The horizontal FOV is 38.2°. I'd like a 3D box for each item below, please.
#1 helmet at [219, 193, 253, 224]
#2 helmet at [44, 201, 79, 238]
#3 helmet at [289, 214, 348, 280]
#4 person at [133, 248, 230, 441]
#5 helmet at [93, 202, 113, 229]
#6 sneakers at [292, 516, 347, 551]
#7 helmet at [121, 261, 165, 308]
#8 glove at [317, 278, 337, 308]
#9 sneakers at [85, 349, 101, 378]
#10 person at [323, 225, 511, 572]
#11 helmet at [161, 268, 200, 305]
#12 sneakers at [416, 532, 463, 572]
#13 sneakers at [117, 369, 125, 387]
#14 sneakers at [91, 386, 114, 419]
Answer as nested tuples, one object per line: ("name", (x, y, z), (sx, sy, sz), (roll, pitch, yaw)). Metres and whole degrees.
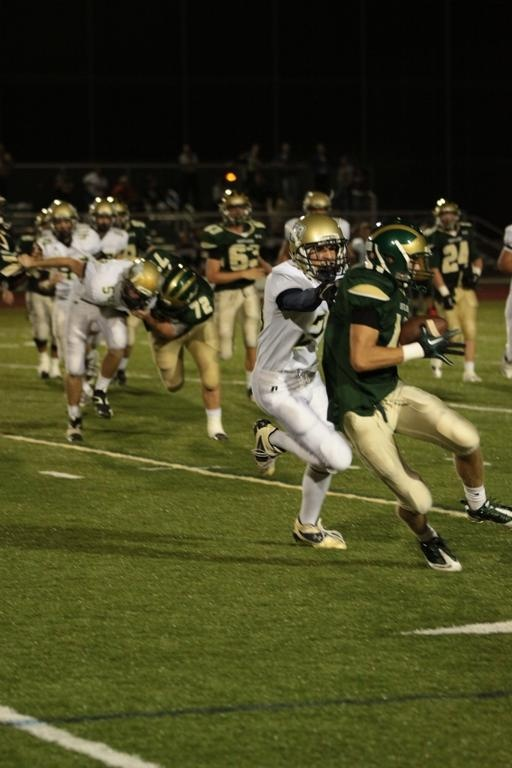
("helmet", (-0.193, -1.665, 7.016), (0.297, 0.346, 0.260), (2, 7, -4))
("helmet", (-1.775, -1.513, 6.906), (0.322, 0.298, 0.392), (-4, -6, -11))
("helmet", (0.261, -0.623, 3.215), (0.233, 0.217, 0.285), (-20, 34, -30))
("person", (-0.510, -0.225, 5.085), (0.473, 1.349, 0.841), (5, 8, 12))
("helmet", (-1.531, -1.672, 7.401), (0.222, 0.231, 0.258), (1, 15, -12))
("sneakers", (0.279, 0.658, 3.271), (0.224, 0.086, 0.107), (10, 0, 7))
("helmet", (-0.749, -0.627, 4.698), (0.282, 0.326, 0.262), (4, 7, 7))
("glove", (0.280, -0.344, 2.871), (0.069, 0.046, 0.106), (18, 15, -10))
("sneakers", (-1.542, -0.188, 6.943), (0.116, 0.088, 0.338), (33, -14, -13))
("person", (0.619, 0.055, 2.905), (0.710, 1.342, 0.478), (2, 8, -8))
("helmet", (-0.471, -0.637, 4.819), (0.152, 0.267, 0.354), (6, 8, 24))
("sneakers", (0.710, 0.653, 2.968), (0.099, 0.096, 0.231), (-11, 18, -28))
("sneakers", (-1.397, -0.061, 7.631), (0.072, 0.189, 0.088), (2, 45, -10))
("sneakers", (-1.277, 0.145, 6.141), (0.130, 0.154, 0.353), (25, 6, -41))
